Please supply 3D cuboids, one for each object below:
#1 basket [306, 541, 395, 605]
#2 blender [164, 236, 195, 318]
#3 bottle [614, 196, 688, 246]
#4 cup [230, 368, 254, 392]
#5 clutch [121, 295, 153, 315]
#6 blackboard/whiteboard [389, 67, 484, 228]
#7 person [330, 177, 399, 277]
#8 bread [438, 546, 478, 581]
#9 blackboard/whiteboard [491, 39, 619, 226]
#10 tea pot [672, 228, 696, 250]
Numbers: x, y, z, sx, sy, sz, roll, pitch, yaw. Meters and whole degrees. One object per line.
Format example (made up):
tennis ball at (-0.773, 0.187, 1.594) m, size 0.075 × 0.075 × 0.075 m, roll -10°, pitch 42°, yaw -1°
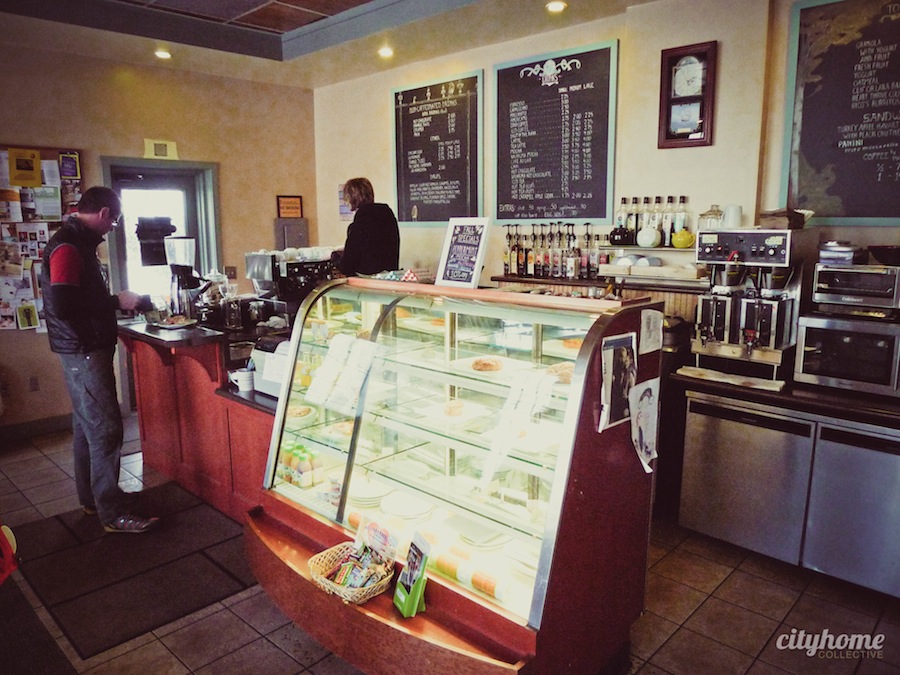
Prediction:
basket at (-0.477, 1.070, 2.963) m, size 0.402 × 0.157 × 0.254 m, roll 10°, pitch 15°, yaw 38°
blender at (-2.059, -0.490, 4.852) m, size 0.210 × 0.559 × 0.444 m, roll -4°, pitch 13°, yaw -22°
bottle at (1.550, -0.889, 4.826) m, size 0.419 × 0.302 × 0.132 m, roll 6°, pitch 11°, yaw 35°
cup at (-1.401, 0.273, 4.120) m, size 0.176 × 0.147 × 0.114 m, roll 2°, pitch 6°, yaw 31°
clutch at (-2.188, -0.233, 4.411) m, size 0.173 × 0.057 × 0.122 m, roll 6°, pitch 2°, yaw -29°
blackboard/whiteboard at (-0.135, -1.792, 6.093) m, size 1.097 × 1.354 × 0.076 m, roll 10°, pitch 15°, yaw 38°
person at (-0.714, -0.942, 5.309) m, size 0.498 × 0.789 × 0.557 m, roll 1°, pitch 12°, yaw 3°
bread at (0.037, 1.012, 2.855) m, size 0.213 × 0.072 × 0.148 m, roll 8°, pitch 14°, yaw 32°
blackboard/whiteboard at (0.864, -1.689, 5.328) m, size 1.139 × 1.359 × 0.065 m, roll 10°, pitch 15°, yaw 37°
tea pot at (1.710, -0.723, 4.646) m, size 0.158 × 0.135 × 0.066 m, roll 4°, pitch 12°, yaw 16°
